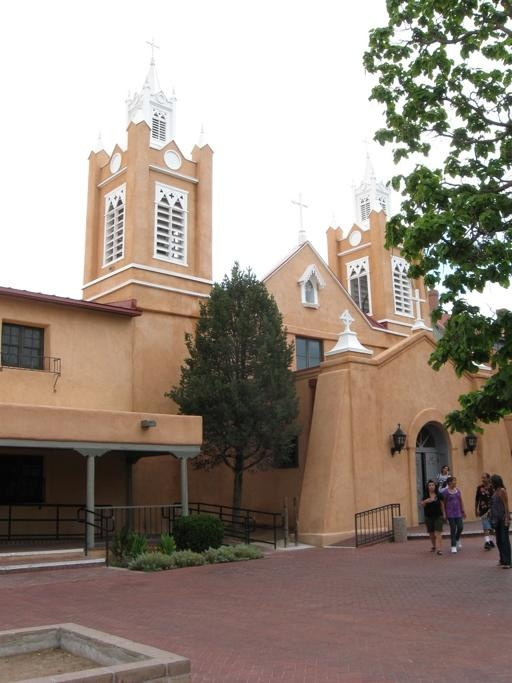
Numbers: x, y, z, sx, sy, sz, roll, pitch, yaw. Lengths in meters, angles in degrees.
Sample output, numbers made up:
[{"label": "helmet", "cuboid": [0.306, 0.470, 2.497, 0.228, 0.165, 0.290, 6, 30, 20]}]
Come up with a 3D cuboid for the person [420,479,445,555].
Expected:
[{"label": "person", "cuboid": [4.117, 4.099, 13.432, 0.451, 1.619, 2.094, -5, -12, 16]}]

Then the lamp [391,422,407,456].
[{"label": "lamp", "cuboid": [4.499, 3.163, 18.475, 0.487, 1.003, 0.841, -4, -12, 12]}]

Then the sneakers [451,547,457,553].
[{"label": "sneakers", "cuboid": [4.506, 4.819, 13.200, 0.080, 0.101, 0.246, 1, 15, 4]}]
